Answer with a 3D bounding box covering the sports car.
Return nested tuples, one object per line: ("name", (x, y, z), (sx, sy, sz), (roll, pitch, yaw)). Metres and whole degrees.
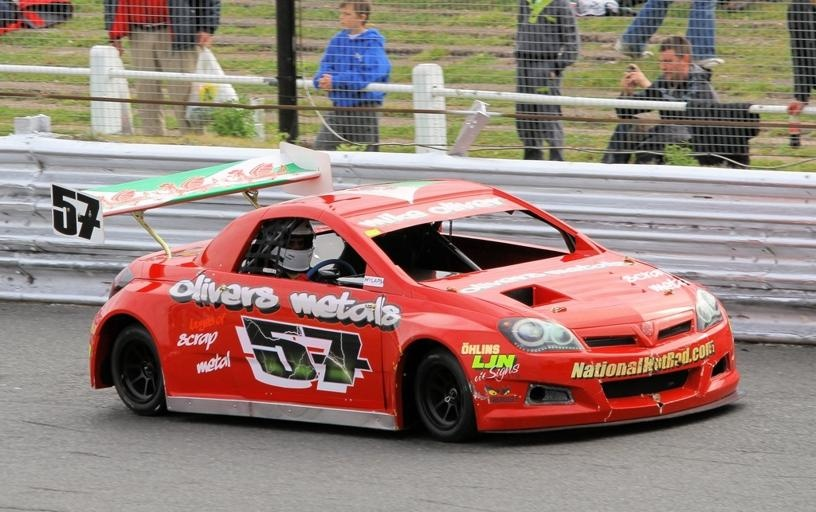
("sports car", (0.051, 0.312, 8.696), (4.981, 0.940, 2.624), (4, 16, 39))
